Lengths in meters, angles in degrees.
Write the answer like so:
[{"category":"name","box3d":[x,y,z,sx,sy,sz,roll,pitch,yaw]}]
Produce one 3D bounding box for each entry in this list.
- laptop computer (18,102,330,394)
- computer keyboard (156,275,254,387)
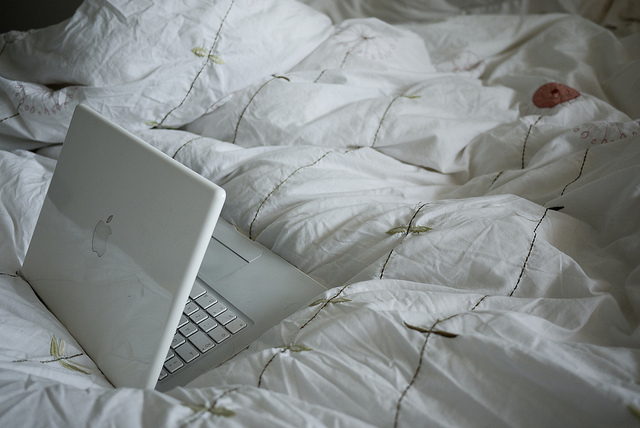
[{"category":"laptop computer","box3d":[-0.232,0.127,1.105,0.549,0.522,0.398,41,29,29]},{"category":"computer keyboard","box3d":[-0.252,0.222,0.943,0.175,0.007,0.197,-31,53,-11]}]
